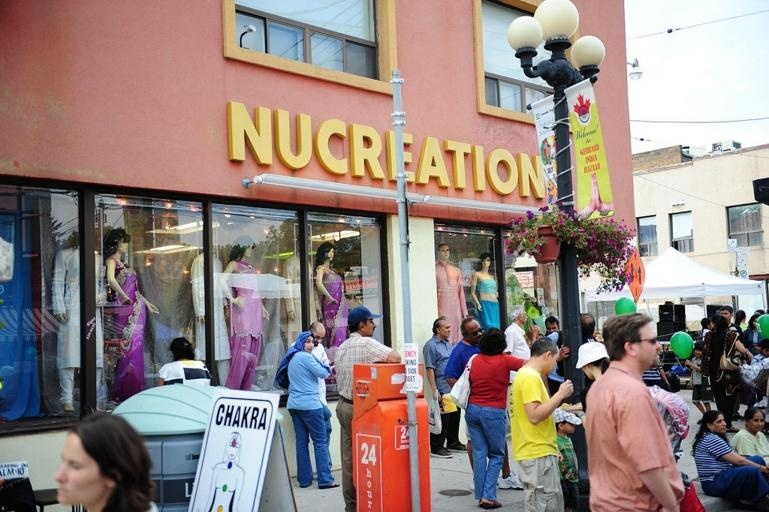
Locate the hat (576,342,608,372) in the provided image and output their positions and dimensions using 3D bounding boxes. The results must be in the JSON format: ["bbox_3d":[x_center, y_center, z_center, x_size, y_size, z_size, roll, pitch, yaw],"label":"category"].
[{"bbox_3d":[2.470,1.240,9.676,0.374,0.212,0.296,-18,-10,37],"label":"hat"}]

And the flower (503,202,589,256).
[{"bbox_3d":[2.307,-0.409,11.025,0.511,0.426,0.623,-31,3,-26],"label":"flower"}]

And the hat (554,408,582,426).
[{"bbox_3d":[2.330,2.031,10.140,0.286,0.117,0.204,8,1,-2],"label":"hat"}]

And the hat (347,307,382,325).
[{"bbox_3d":[-0.303,0.833,11.279,0.375,0.201,0.251,-6,5,-11],"label":"hat"}]

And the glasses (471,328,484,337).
[{"bbox_3d":[1.453,1.212,12.642,0.151,0.163,0.047,-14,-30,-25],"label":"glasses"}]

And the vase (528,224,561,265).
[{"bbox_3d":[2.212,-0.146,11.024,0.431,0.371,0.450,1,-17,-8],"label":"vase"}]

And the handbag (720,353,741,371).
[{"bbox_3d":[6.572,2.042,15.155,0.279,0.121,0.223,11,3,33],"label":"handbag"}]

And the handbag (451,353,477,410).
[{"bbox_3d":[1.127,1.783,11.305,0.396,0.761,0.313,-2,-4,6],"label":"handbag"}]
